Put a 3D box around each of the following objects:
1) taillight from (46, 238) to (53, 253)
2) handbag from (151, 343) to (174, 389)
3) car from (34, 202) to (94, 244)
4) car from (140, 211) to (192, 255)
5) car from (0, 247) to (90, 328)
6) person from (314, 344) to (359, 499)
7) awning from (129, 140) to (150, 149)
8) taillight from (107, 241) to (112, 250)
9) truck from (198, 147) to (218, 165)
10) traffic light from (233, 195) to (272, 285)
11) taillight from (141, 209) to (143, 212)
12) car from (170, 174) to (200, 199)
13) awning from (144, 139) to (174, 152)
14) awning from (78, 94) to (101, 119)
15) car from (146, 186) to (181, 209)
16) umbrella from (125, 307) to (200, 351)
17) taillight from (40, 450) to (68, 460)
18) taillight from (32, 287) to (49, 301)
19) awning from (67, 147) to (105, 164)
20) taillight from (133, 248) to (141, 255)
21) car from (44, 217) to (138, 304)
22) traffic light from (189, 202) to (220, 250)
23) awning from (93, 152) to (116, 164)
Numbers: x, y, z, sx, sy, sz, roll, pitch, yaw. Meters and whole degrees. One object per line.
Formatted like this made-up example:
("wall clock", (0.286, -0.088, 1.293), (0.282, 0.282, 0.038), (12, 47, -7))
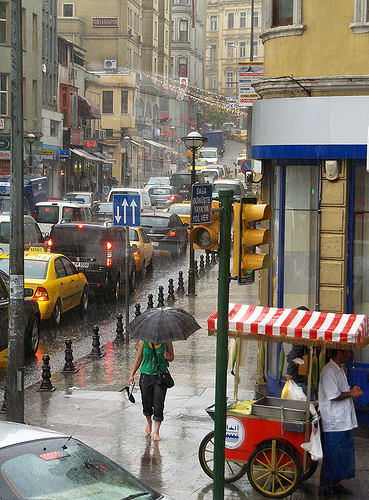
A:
("taillight", (-2.825, -0.099, 22.825), (0.141, 0.290, 0.502), (-2, 6, -7))
("handbag", (-0.233, 1.278, 11.979), (0.187, 0.581, 0.417), (1, 6, 27))
("car", (-3.508, -0.989, 31.402), (1.094, 1.215, 1.927), (1, 13, 9))
("car", (-0.513, -0.555, 32.065), (0.890, 0.960, 1.774), (0, 13, 5))
("car", (-2.528, 0.610, 19.552), (0.777, 0.996, 2.073), (0, 5, 9))
("person", (1.467, 1.558, 10.568), (0.398, 1.515, 1.417), (-1, 6, 7))
("awning", (-3.701, -8.638, 87.035), (0.230, 0.481, 3.318), (18, 7, -30))
("taillight", (-1.553, -0.095, 22.440), (0.110, 0.132, 0.028), (24, 10, 12))
("truck", (1.859, -7.193, 82.250), (0.971, 1.340, 2.317), (0, 2, 6))
("traffic light", (0.557, -0.068, 8.946), (0.319, 0.749, 0.569), (-1, 6, 4))
("taillight", (-1.508, -1.431, 38.871), (0.068, 0.100, 0.078), (0, -2, -9))
("car", (-0.131, -2.906, 52.719), (0.969, 1.187, 2.015), (1, 15, 6))
("awning", (-2.259, -9.415, 97.715), (2.384, 1.416, 16.957), (-2, 6, -1))
("awning", (-5.856, -8.803, 66.630), (1.192, 1.341, 3.697), (-2, 6, -3))
("car", (-0.917, -2.252, 46.529), (0.858, 0.777, 1.975), (1, 13, 5))
("umbrella", (-0.272, 0.987, 13.213), (0.527, 0.448, 0.599), (-3, 29, 6))
("taillight", (-0.890, 1.401, 7.419), (0.062, 0.049, 0.229), (2, 8, 38))
("taillight", (-2.443, 0.742, 18.375), (0.213, 0.218, 0.416), (0, 1, -1))
("awning", (-5.822, -5.681, 64.705), (1.625, 1.037, 6.666), (-2, 6, -1))
("taillight", (-1.098, 0.043, 25.776), (0.099, 0.131, 0.106), (0, -1, 13))
("car", (-1.946, 0.243, 23.073), (1.211, 1.465, 2.408), (1, 11, 11))
("traffic light", (0.165, -0.199, 9.048), (0.201, 0.455, 0.223), (4, 0, 23))
("awning", (-5.298, -6.076, 71.371), (1.329, 0.740, 1.520), (6, -8, -6))
